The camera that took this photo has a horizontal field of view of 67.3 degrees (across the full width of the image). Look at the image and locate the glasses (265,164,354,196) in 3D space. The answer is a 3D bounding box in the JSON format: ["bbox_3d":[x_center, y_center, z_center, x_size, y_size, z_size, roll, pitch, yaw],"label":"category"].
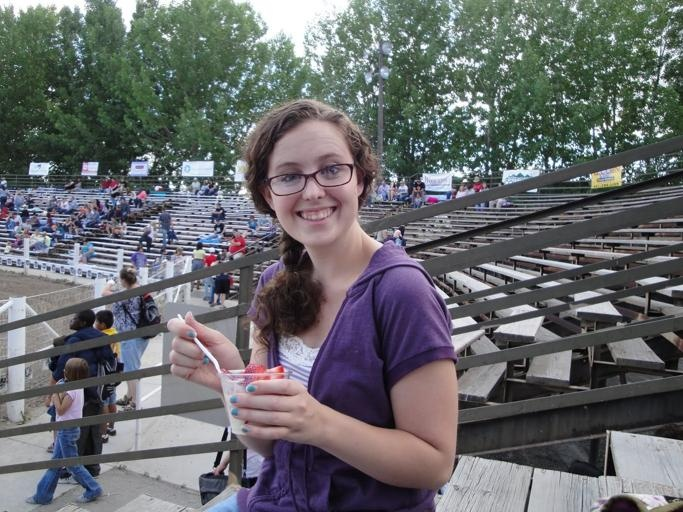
[{"bbox_3d":[-0.134,-0.293,1.966,0.331,0.118,0.116,9,8,32],"label":"glasses"}]

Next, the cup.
[{"bbox_3d":[-0.348,0.471,1.775,0.208,0.266,0.347,-1,3,-29],"label":"cup"}]
